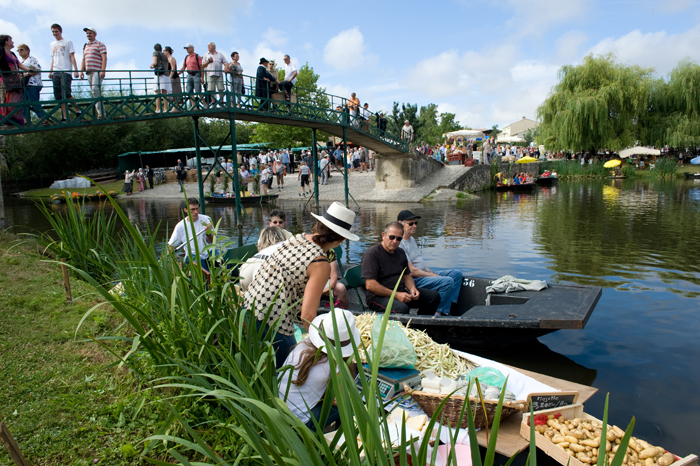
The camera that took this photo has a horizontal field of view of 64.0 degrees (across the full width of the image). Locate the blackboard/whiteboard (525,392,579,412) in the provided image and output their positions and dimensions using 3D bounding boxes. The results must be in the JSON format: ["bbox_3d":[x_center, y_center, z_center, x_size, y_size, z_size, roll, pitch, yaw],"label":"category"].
[{"bbox_3d":[2.082,1.707,5.758,0.578,0.234,0.104,-6,11,-21],"label":"blackboard/whiteboard"}]

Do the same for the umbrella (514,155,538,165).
[{"bbox_3d":[13.298,-5.505,42.768,1.610,0.591,1.695,-5,7,7],"label":"umbrella"}]

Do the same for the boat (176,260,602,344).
[{"bbox_3d":[0.986,1.278,8.686,4.621,0.876,2.160,3,12,27],"label":"boat"}]

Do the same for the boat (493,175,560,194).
[{"bbox_3d":[10.998,-3.023,35.430,3.269,0.624,1.130,-15,18,-31],"label":"boat"}]

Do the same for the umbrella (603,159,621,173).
[{"bbox_3d":[19.335,-4.904,41.482,1.178,0.901,1.627,2,11,21],"label":"umbrella"}]

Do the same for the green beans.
[{"bbox_3d":[0.744,1.358,6.572,1.021,0.348,0.781,8,7,30],"label":"green beans"}]

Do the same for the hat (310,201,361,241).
[{"bbox_3d":[-0.129,-0.190,6.315,0.666,0.295,0.723,28,0,-5],"label":"hat"}]

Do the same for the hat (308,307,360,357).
[{"bbox_3d":[-0.138,0.861,5.067,0.473,0.199,0.523,-14,52,-44],"label":"hat"}]
